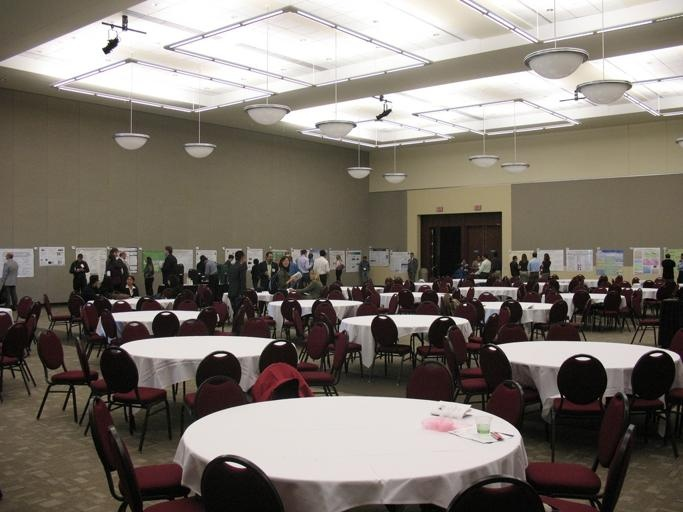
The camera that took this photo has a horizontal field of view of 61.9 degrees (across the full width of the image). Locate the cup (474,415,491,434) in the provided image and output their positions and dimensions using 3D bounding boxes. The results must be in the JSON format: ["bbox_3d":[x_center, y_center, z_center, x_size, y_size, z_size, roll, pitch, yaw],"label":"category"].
[{"bbox_3d":[0.988,1.170,3.944,0.093,0.077,0.086,-1,3,0],"label":"cup"}]
